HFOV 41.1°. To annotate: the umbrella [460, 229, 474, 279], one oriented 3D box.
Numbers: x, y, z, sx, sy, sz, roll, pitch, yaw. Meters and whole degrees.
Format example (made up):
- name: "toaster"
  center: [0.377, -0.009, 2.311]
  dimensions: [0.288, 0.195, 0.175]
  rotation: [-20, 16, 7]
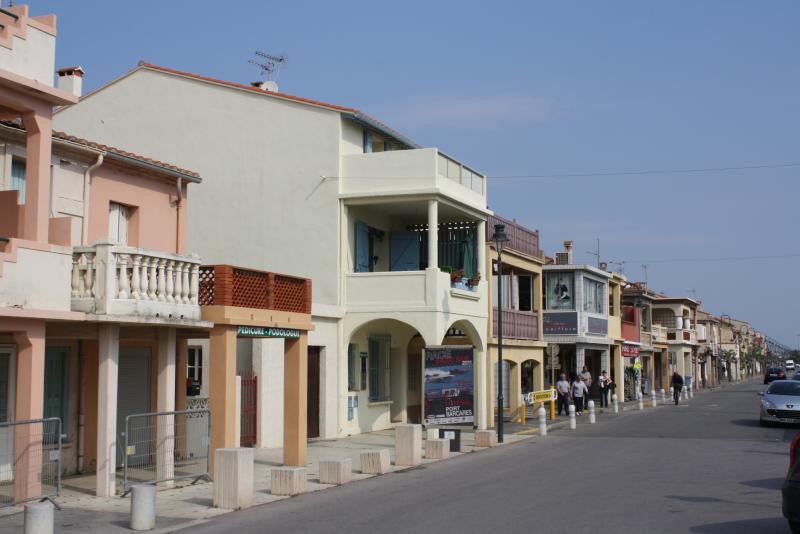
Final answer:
- name: "umbrella"
  center: [2.641, -0.555, 40.786]
  dimensions: [0.636, 1.842, 0.274]
  rotation: [5, -12, -31]
